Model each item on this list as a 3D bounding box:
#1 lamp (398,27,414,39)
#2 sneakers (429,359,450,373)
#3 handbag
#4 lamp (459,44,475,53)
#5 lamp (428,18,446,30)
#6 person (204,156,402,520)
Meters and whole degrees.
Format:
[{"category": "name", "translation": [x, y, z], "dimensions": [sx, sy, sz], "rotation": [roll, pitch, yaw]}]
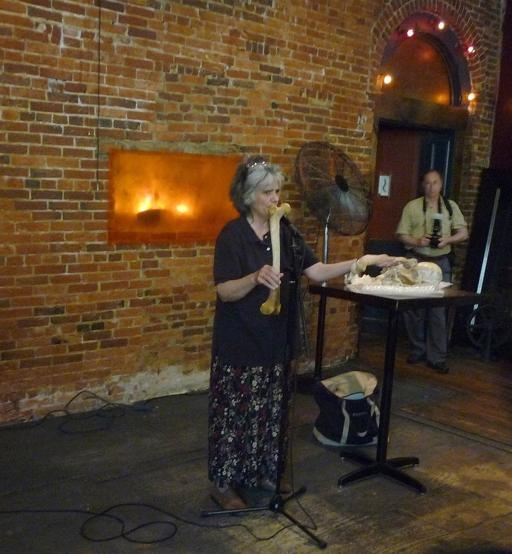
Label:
[{"category": "lamp", "translation": [1.567, -2.551, 5.128], "dimensions": [0.147, 0.064, 0.170], "rotation": [-22, 41, -28]}, {"category": "sneakers", "translation": [1.816, 0.900, 4.919], "dimensions": [0.085, 0.087, 0.214], "rotation": [-1, 1, -23]}, {"category": "handbag", "translation": [0.557, 0.852, 3.271], "dimensions": [0.507, 0.415, 0.400], "rotation": [-4, 9, -9]}, {"category": "lamp", "translation": [2.538, -2.717, 5.860], "dimensions": [0.188, 0.099, 0.052], "rotation": [1, 5, -17]}, {"category": "lamp", "translation": [2.025, -2.820, 5.490], "dimensions": [0.178, 0.037, 0.163], "rotation": [-3, -2, -44]}, {"category": "person", "translation": [0.072, 0.294, 2.213], "dimensions": [0.584, 1.644, 0.534], "rotation": [-1, 6, -36]}]
